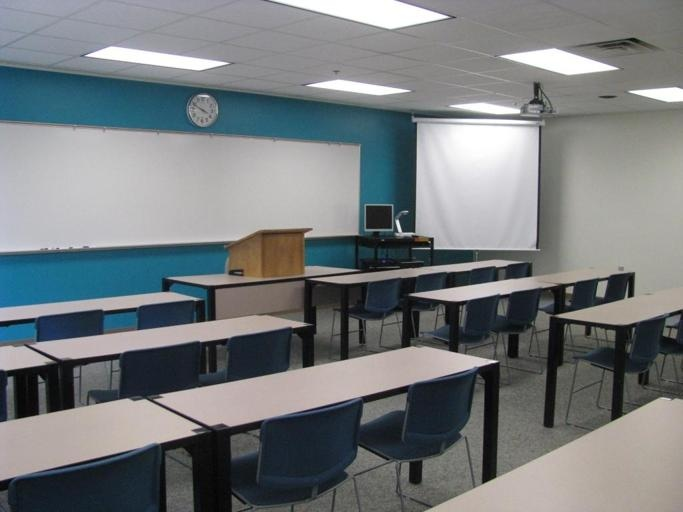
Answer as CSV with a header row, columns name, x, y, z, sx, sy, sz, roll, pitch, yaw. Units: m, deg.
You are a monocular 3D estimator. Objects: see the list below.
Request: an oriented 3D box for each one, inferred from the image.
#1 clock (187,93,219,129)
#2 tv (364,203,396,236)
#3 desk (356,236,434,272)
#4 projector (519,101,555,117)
name,x,y,z,sx,sy,sz,roll,pitch,yaw
clock,-1.896,-1.988,7.312,0.425,0.445,0.070,5,8,6
tv,0.619,-0.612,8.897,0.563,0.588,0.197,-2,3,-25
desk,0.897,0.100,8.989,1.114,0.860,0.712,-2,6,-25
projector,2.385,-1.769,6.486,0.358,0.142,0.272,0,8,-4
